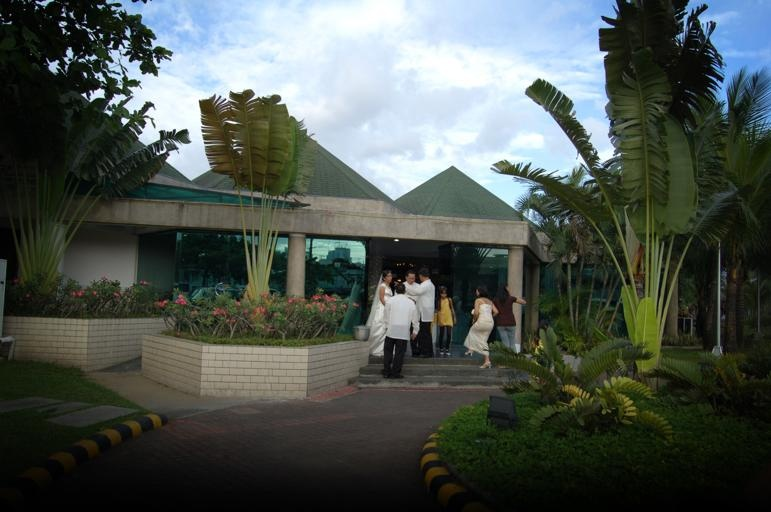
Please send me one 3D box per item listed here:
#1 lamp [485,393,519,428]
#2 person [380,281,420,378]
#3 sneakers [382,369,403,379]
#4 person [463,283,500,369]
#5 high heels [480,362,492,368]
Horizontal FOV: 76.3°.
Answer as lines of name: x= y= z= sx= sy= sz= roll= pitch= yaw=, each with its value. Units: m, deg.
lamp: x=1.781 y=2.363 z=7.474 sx=0.407 sy=0.416 sz=0.205 roll=1 pitch=-15 yaw=25
person: x=0.418 y=2.015 z=13.145 sx=0.860 sy=2.349 sz=1.366 roll=2 pitch=-2 yaw=2
sneakers: x=0.177 y=3.060 z=12.806 sx=0.520 sy=0.225 sz=0.195 roll=0 pitch=-2 yaw=0
person: x=2.740 y=2.004 z=13.950 sx=0.688 sy=2.264 sz=0.789 roll=2 pitch=-2 yaw=0
high heels: x=2.841 y=3.072 z=13.897 sx=0.356 sy=0.165 sz=0.126 roll=5 pitch=-2 yaw=5
